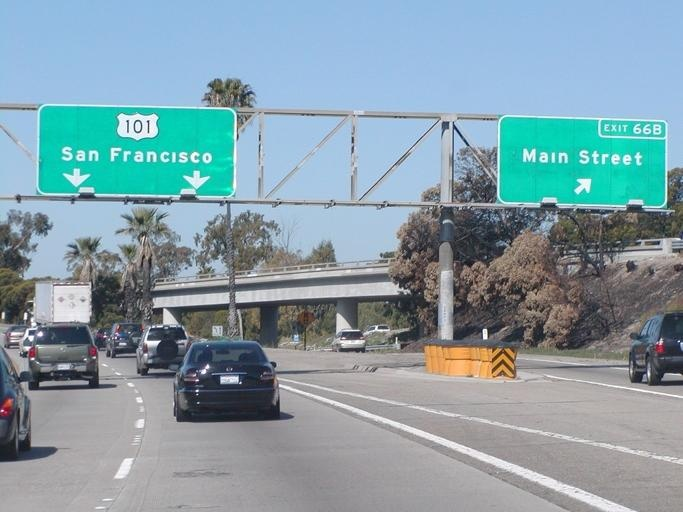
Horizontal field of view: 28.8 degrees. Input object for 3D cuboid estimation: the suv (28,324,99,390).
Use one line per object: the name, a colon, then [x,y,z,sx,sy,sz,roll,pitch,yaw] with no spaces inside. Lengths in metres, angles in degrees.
suv: [-9.498,3.377,45.831,2.203,2.458,3.526,1,-4,-17]

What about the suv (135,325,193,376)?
suv: [-6.791,3.504,50.459,1.534,1.742,3.565,0,-2,-20]

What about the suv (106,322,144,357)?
suv: [-11.577,4.332,70.493,1.573,1.675,3.496,0,1,-15]
